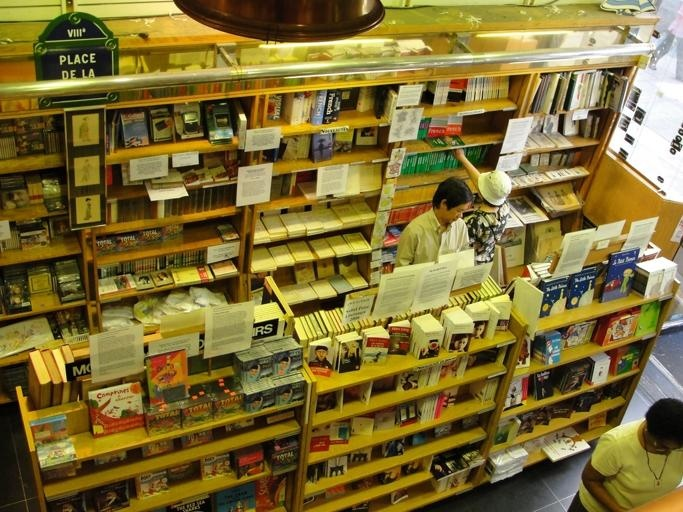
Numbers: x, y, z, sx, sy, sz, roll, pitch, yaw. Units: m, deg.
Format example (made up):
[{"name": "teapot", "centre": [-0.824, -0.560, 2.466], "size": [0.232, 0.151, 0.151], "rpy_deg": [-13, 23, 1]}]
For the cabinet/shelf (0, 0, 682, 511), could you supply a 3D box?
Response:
[{"name": "cabinet/shelf", "centre": [-0.133, 0.026, 4.393], "size": [5.764, 3.427, 1.884], "rpy_deg": [-10, 48, -11]}]

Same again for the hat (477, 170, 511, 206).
[{"name": "hat", "centre": [1.393, -0.635, 4.890], "size": [0.183, 0.343, 0.269], "rpy_deg": [-4, 64, 42]}]
